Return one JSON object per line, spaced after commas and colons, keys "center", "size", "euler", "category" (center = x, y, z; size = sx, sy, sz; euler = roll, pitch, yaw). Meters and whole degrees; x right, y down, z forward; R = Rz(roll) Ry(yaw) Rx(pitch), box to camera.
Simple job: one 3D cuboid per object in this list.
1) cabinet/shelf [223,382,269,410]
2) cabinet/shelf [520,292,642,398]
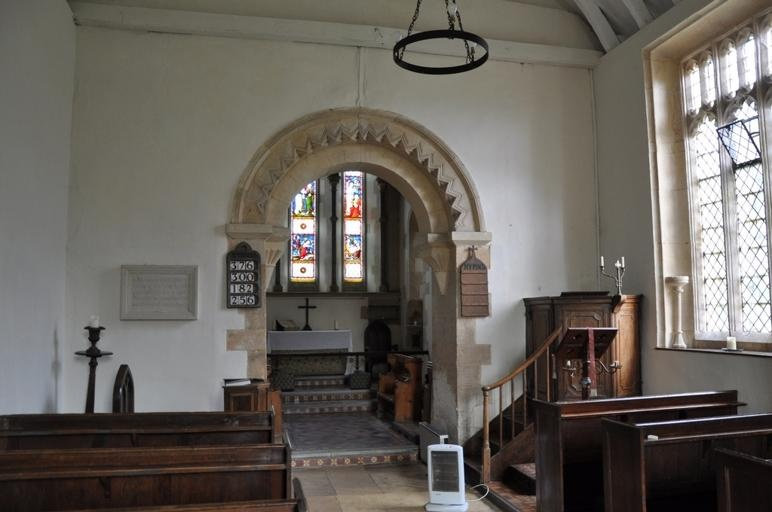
{"center": [-1.853, 1.785, 9.391], "size": [0.454, 0.473, 0.365], "euler": [1, -5, -18], "category": "cabinet/shelf"}
{"center": [2.905, 1.153, 10.472], "size": [1.483, 1.726, 1.234], "euler": [6, 26, 29], "category": "cabinet/shelf"}
